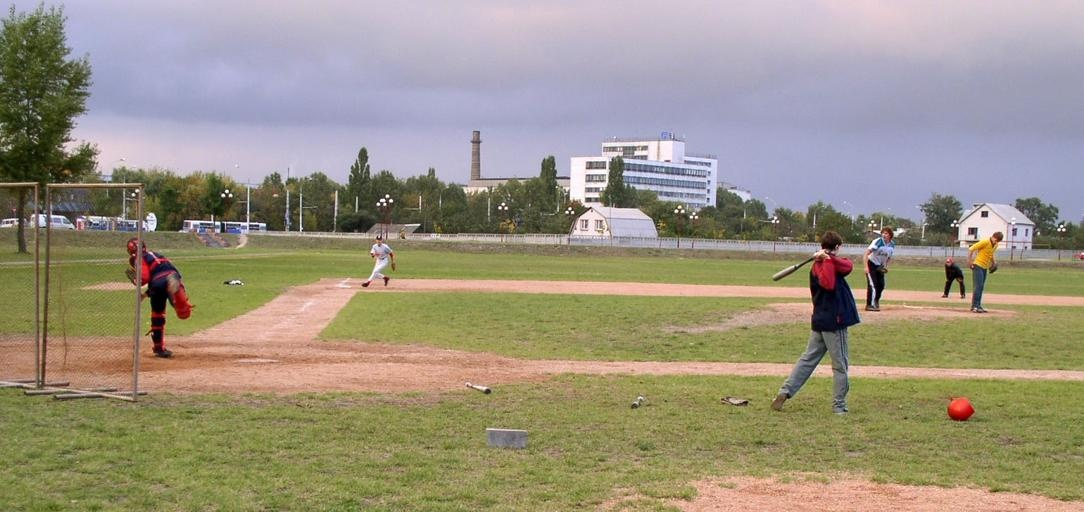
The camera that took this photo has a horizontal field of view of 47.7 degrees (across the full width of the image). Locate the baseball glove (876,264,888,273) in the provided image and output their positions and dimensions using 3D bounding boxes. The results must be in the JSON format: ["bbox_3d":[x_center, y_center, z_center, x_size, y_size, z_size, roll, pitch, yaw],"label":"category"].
[{"bbox_3d":[20.307,0.763,73.718,0.477,0.421,0.199,-1,5,-4],"label":"baseball glove"}]
